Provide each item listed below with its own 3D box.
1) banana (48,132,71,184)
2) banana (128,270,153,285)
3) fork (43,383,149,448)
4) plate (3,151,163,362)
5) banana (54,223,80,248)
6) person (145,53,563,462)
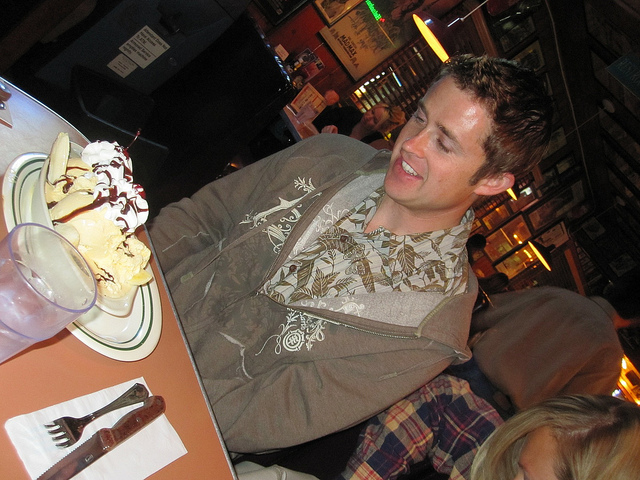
[{"bbox_3d":[-0.648,-0.205,1.103,0.041,0.144,0.021,12,12,-14],"label":"banana"},{"bbox_3d":[-0.463,0.103,1.139,0.035,0.038,0.009,7,-23,-16],"label":"banana"},{"bbox_3d":[-0.535,0.418,1.099,0.076,0.289,0.015,59,-39,7],"label":"fork"},{"bbox_3d":[-0.664,0.064,1.173,0.475,0.080,0.510,22,57,-71],"label":"plate"},{"bbox_3d":[-0.597,-0.018,1.055,0.055,0.048,0.044,17,-49,15],"label":"banana"},{"bbox_3d":[0.172,0.102,1.927,0.882,2.060,0.797,60,22,13],"label":"person"}]
